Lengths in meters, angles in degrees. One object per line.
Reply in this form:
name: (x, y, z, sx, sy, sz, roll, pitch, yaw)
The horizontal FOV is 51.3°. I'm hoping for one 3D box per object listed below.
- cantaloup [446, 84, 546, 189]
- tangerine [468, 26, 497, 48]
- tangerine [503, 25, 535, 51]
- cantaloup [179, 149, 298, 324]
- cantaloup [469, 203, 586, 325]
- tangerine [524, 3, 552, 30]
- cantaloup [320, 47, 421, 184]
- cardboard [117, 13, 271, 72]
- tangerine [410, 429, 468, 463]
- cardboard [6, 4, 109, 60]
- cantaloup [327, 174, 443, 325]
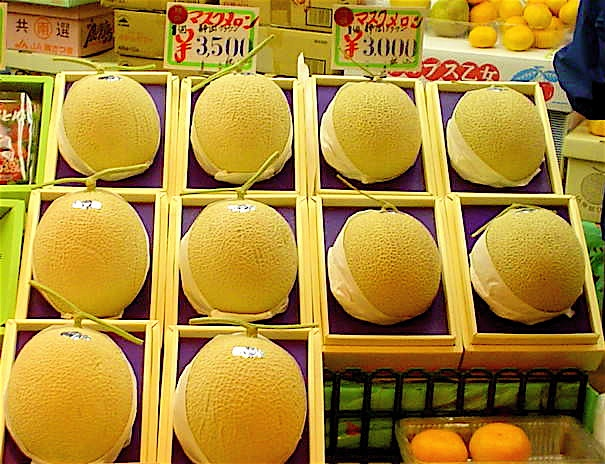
cantaloup: (0.584, -0.265, 1.931, 0.233, 0.232, 0.313, -6, 72, -1)
tangerine: (0.826, -0.875, 2.837, 0.099, 0.101, 0.106, 0, 30, -3)
tangerine: (0.973, -0.859, 2.805, 0.122, 0.107, 0.108, -6, 37, -1)
cantaloup: (-0.223, 0.027, 1.500, 0.282, 0.447, 0.287, 0, 0, -20)
cantaloup: (0.613, 0.094, 1.694, 0.273, 0.260, 0.209, 4, 38, -8)
tangerine: (1.070, -0.957, 2.808, 0.088, 0.103, 0.129, -10, 36, -14)
cantaloup: (0.197, -0.318, 1.785, 0.235, 0.276, 0.296, 1, 2, -20)
cardboard: (-0.433, -0.674, 2.236, 0.302, 0.118, 0.306, 6, 26, 1)
tangerine: (0.351, 0.508, 1.578, 0.092, 0.073, 0.090, -6, -3, -35)
cardboard: (-1.161, -0.933, 2.906, 0.370, 0.209, 0.291, 9, 23, 10)
cantaloup: (0.179, 0.075, 1.742, 0.279, 0.287, 0.415, 6, 57, 1)
